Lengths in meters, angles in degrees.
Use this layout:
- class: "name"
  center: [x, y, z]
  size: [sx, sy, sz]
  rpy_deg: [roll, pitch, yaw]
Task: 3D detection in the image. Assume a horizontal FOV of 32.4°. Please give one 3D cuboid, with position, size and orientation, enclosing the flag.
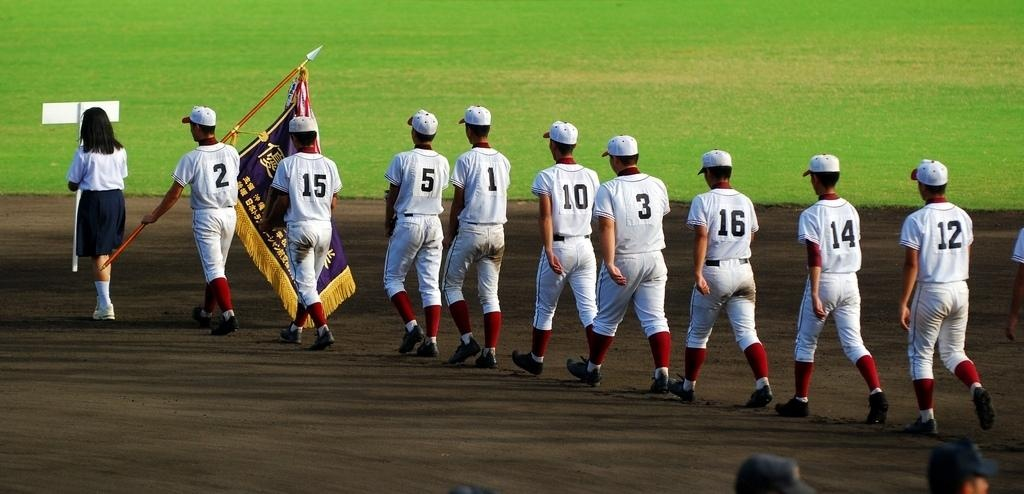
- class: "flag"
  center: [-7.107, -1.742, 56.445]
  size: [0.757, 8.817, 5.935]
  rpy_deg: [-1, -1, 33]
